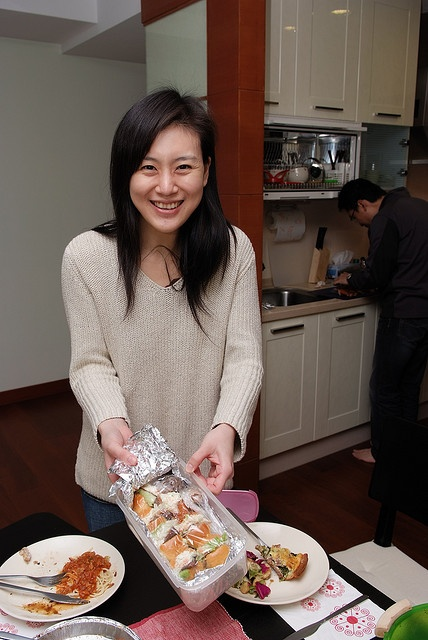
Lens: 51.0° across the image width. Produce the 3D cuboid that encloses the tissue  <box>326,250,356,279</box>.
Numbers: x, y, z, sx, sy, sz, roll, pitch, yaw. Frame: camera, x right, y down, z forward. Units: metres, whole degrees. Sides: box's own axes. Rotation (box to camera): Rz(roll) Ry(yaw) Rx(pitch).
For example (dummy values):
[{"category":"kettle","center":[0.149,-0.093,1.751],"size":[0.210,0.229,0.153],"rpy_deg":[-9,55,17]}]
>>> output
[{"category":"tissue ","center":[0.932,-0.427,3.373],"size":[0.048,0.197,0.199],"rpy_deg":[29,21,28]}]

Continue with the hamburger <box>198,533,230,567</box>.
[{"category":"hamburger","center":[0.001,0.253,0.488],"size":[0.032,0.016,0.046],"rpy_deg":[-1,0,-2]}]

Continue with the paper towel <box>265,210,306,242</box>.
[{"category":"paper towel","center":[0.493,-0.667,3.107],"size":[0.294,0.224,0.085],"rpy_deg":[-1,0,-33]}]

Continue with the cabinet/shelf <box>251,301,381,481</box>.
[{"category":"cabinet/shelf","center":[0.504,0.301,2.946],"size":[1.015,0.990,0.588],"rpy_deg":[-10,17,-32]}]

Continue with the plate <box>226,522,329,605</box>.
[{"category":"plate","center":[0.103,0.379,0.707],"size":[0.134,0.072,0.104],"rpy_deg":[9,12,43]}]

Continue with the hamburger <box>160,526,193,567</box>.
[{"category":"hamburger","center":[-0.045,0.253,0.500],"size":[0.021,0.007,0.022],"rpy_deg":[-37,64,-6]}]

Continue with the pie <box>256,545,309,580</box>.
[{"category":"pie","center":[0.109,0.373,0.697],"size":[0.070,0.026,0.056],"rpy_deg":[1,9,-7]}]

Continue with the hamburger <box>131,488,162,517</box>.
[{"category":"hamburger","center":[-0.092,0.239,0.582],"size":[0.019,0.026,0.008],"rpy_deg":[-29,-19,14]}]

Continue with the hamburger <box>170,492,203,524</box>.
[{"category":"hamburger","center":[-0.035,0.237,0.563],"size":[0.025,0.009,0.026],"rpy_deg":[29,9,-11]}]

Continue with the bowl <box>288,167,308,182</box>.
[{"category":"bowl","center":[0.523,-0.911,2.808],"size":[0.116,0.085,0.092],"rpy_deg":[7,24,13]}]
